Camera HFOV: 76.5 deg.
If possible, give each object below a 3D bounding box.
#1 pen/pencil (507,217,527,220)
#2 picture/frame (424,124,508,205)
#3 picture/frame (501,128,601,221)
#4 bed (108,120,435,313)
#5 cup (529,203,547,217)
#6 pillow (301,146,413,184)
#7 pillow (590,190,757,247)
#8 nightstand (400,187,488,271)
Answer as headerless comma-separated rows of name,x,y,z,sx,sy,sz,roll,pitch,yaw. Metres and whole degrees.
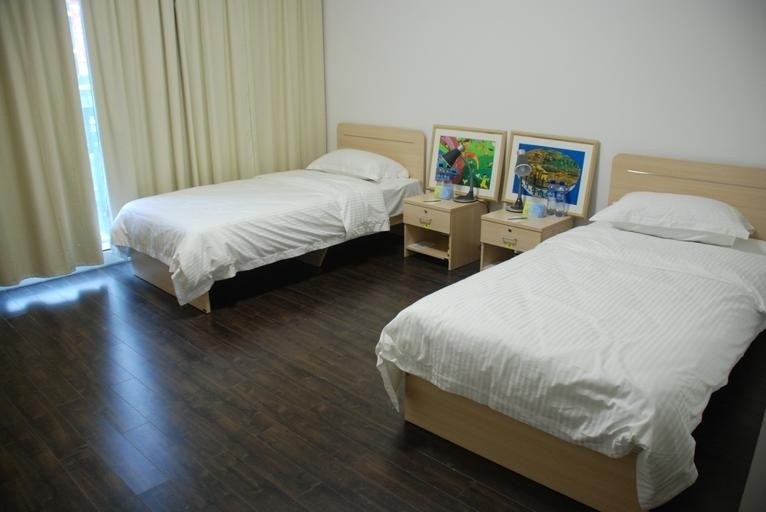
pen/pencil,1.208,-0.342,4.358,0.198,0.029,0.029,2,3,-17
picture/frame,0.877,-0.928,4.897,0.856,0.685,0.037,13,19,32
picture/frame,1.581,-0.743,4.421,0.884,0.719,0.085,13,18,33
bed,-0.836,-0.544,5.185,1.696,1.503,3.124,18,27,39
cup,1.402,-0.401,4.429,0.138,0.119,0.120,30,38,34
pillow,-0.342,-1.019,5.355,0.813,0.198,0.509,18,30,33
pillow,2.206,-0.313,3.654,0.747,0.213,0.529,13,38,32
nightstand,0.616,-0.389,5.104,0.936,0.863,0.769,14,20,42
